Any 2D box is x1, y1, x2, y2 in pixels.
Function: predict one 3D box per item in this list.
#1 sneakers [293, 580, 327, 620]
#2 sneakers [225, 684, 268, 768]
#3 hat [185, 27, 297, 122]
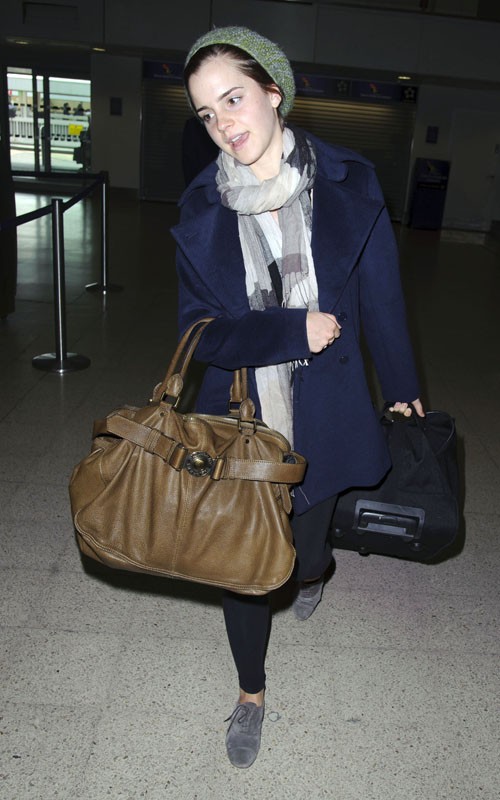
[{"bbox_3d":[0.194,0.645,2.114,0.053,0.070,0.177,-8,20,30],"label":"sneakers"},{"bbox_3d":[-0.008,0.790,1.569,0.083,0.069,0.235,9,18,7],"label":"sneakers"},{"bbox_3d":[-0.002,-0.602,1.167,0.161,0.151,0.263,11,24,17],"label":"hat"}]
